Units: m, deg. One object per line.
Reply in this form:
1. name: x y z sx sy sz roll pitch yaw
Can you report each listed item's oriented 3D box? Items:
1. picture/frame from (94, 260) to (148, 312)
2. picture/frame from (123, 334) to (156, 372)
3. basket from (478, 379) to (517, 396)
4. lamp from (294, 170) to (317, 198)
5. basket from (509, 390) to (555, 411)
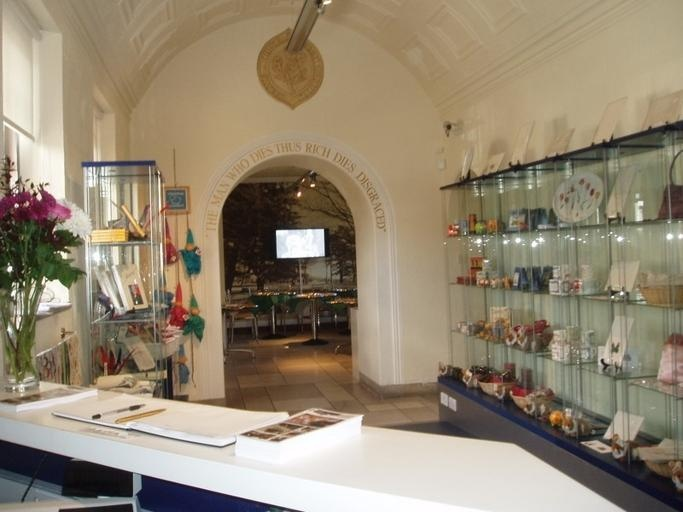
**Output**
1. picture/frame: -1.781 0.251 3.985 0.363 0.411 0.091 -13 -2 -15
2. picture/frame: -1.632 0.775 4.006 0.186 0.320 0.065 -29 -2 0
3. basket: 1.436 1.233 4.592 0.168 0.062 0.175 -1 -1 -19
4. lamp: -0.883 -1.712 12.062 0.509 0.742 2.229 -4 12 -4
5. basket: 1.593 1.198 4.099 0.244 0.088 0.249 -2 0 -33
